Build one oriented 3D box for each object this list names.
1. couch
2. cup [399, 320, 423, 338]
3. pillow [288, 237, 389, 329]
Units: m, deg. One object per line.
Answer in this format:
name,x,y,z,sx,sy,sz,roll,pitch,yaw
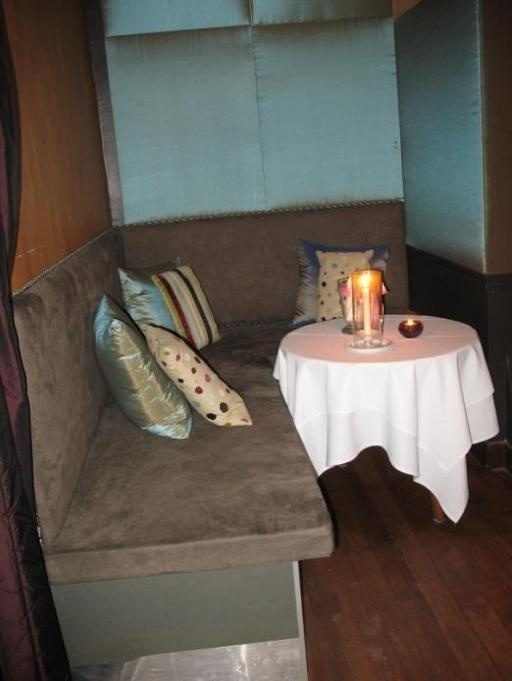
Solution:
couch,-0.133,0.277,1.822,0.934,0.731,1.347,-7,25,-6
cup,0.549,-0.052,2.045,0.067,0.048,0.066,-3,14,1
pillow,0.371,-0.280,2.715,0.497,0.533,0.186,-1,-21,28
